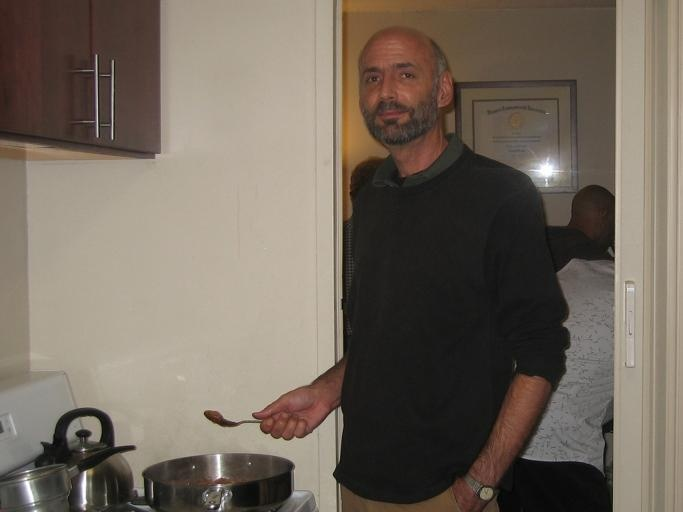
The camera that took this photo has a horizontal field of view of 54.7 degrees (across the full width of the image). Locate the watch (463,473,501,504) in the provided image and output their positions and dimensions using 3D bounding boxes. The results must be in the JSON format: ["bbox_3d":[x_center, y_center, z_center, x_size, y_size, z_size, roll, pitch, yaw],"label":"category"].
[{"bbox_3d":[0.377,0.622,1.825,0.089,0.052,0.092,42,-11,-15],"label":"watch"}]

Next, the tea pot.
[{"bbox_3d":[-0.705,0.577,1.973,0.330,0.309,0.199,-1,-3,-39],"label":"tea pot"}]

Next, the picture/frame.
[{"bbox_3d":[0.542,-0.361,2.042,0.348,0.361,0.017,4,35,26],"label":"picture/frame"}]
